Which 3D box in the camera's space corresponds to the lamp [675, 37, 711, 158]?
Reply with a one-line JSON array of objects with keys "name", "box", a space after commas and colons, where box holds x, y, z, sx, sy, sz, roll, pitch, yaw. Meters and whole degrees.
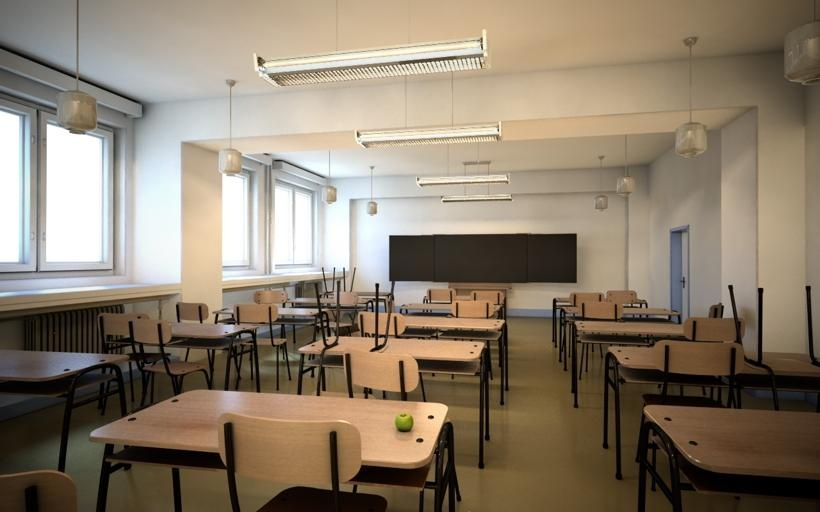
[{"name": "lamp", "box": [3.341, -1.861, 7.593, 0.298, 1.430, 0.922, -2, -2, 26]}]

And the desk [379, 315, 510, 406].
[{"name": "desk", "box": [0.649, 1.423, 7.990, 1.760, 0.882, 0.972, -1, -4, 14]}]

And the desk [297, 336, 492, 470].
[{"name": "desk", "box": [-0.182, 1.398, 7.068, 2.023, 0.995, 1.086, -2, 9, 14]}]

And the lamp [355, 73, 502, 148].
[{"name": "lamp", "box": [0.253, -1.610, 7.363, 1.734, 0.588, 0.443, -1, 5, 13]}]

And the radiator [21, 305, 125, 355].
[{"name": "radiator", "box": [-4.247, 1.038, 7.893, 0.930, 0.098, 0.712, 3, 24, 5]}]

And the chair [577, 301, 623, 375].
[{"name": "chair", "box": [2.403, 1.092, 8.087, 0.570, 0.966, 0.672, -3, 10, 31]}]

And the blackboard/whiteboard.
[{"name": "blackboard/whiteboard", "box": [1.497, 0.043, 13.386, 3.828, 1.071, 0.244, -1, -2, 11]}]

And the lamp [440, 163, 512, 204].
[{"name": "lamp", "box": [1.280, -1.084, 11.637, 1.369, 0.899, 0.831, 1, 3, 18]}]

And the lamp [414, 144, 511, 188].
[{"name": "lamp", "box": [0.854, -1.442, 11.024, 1.395, 0.787, 3.236, -1, -2, 1]}]

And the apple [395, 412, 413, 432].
[{"name": "apple", "box": [-0.045, 1.390, 5.391, 0.140, 0.131, 0.144, -3, -1, 22]}]

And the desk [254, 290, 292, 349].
[{"name": "desk", "box": [-2.105, 0.902, 9.752, 0.740, 1.052, 0.684, 0, -5, -8]}]

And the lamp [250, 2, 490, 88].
[{"name": "lamp", "box": [-0.353, -1.869, 6.116, 2.181, 0.309, 0.344, -1, -2, 6]}]

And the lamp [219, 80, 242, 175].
[{"name": "lamp", "box": [-2.438, -1.688, 8.628, 0.243, 1.254, 0.908, 0, -2, -16]}]

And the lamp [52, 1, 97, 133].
[{"name": "lamp", "box": [-3.715, -2.030, 7.079, 0.336, 1.523, 1.291, 0, -2, -29]}]

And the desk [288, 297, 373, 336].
[{"name": "desk", "box": [-1.152, 0.861, 9.182, 0.924, 0.458, 0.626, -1, -3, 18]}]

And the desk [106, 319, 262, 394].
[{"name": "desk", "box": [-2.629, 1.066, 7.701, 1.358, 1.066, 1.184, 1, 3, 15]}]

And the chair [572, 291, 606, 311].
[{"name": "chair", "box": [2.636, 0.632, 9.434, 0.343, 0.416, 0.319, 1, 10, 11]}]
